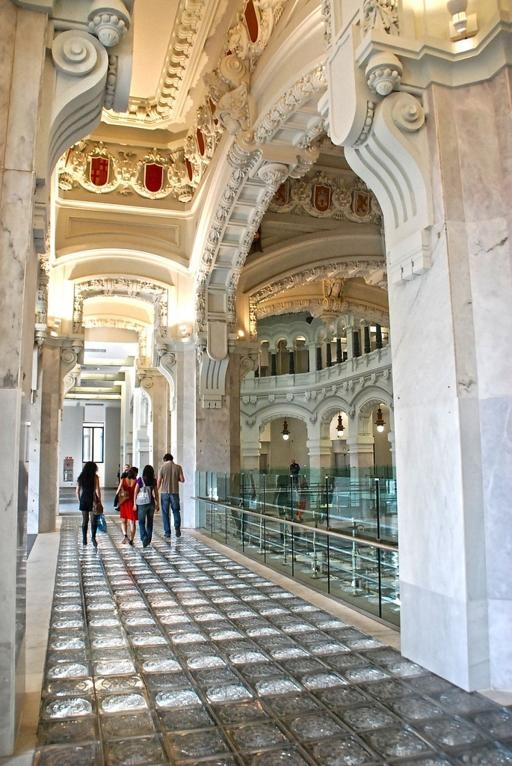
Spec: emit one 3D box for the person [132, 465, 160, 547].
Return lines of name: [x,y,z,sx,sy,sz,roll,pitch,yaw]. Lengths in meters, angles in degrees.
person: [-1.894,2.090,9.102,0.401,1.324,1.335,1,-12,-11]

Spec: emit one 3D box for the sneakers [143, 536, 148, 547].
sneakers: [-1.765,2.535,8.446,0.061,0.178,0.069,7,4,-4]

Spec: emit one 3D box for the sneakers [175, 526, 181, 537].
sneakers: [-1.452,2.801,9.888,0.073,0.221,0.145,0,-7,-3]

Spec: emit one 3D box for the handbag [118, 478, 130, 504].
handbag: [-2.221,1.827,8.873,0.182,0.456,0.464,-1,-2,-25]

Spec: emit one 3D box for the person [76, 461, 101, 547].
person: [-2.912,2.050,9.160,0.406,1.422,1.909,3,-12,-18]

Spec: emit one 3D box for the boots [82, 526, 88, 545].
boots: [-2.822,2.517,8.696,0.071,0.304,0.164,4,-13,-21]
